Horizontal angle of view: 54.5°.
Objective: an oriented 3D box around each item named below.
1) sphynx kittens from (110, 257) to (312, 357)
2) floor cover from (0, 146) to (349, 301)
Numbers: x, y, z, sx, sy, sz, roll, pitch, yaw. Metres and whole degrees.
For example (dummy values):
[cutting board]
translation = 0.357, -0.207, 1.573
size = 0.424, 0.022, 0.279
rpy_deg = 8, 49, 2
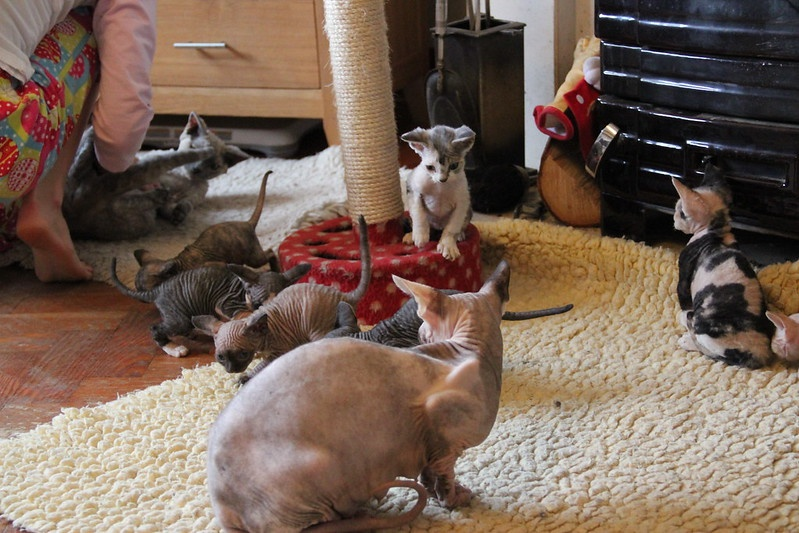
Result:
[sphynx kittens]
translation = -0.532, 0.077, 2.216
size = 0.525, 0.305, 0.214
rpy_deg = -7, 30, 6
[floor cover]
translation = -0.556, -0.211, 2.770
size = 0.645, 0.204, 0.690
rpy_deg = -4, 17, 24
